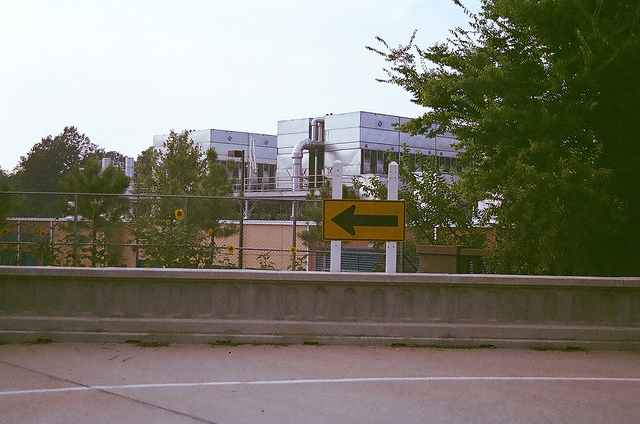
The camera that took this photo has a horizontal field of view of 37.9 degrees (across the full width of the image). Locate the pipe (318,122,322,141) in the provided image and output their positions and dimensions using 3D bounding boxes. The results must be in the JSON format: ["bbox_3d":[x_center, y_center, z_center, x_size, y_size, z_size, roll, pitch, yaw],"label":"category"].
[{"bbox_3d":[-0.004,-6.288,73.816,0.340,1.430,0.936,0,4,-5],"label":"pipe"}]

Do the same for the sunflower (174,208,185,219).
[{"bbox_3d":[-4.545,0.081,29.986,0.235,0.303,1.051,0,4,-12],"label":"sunflower"}]
